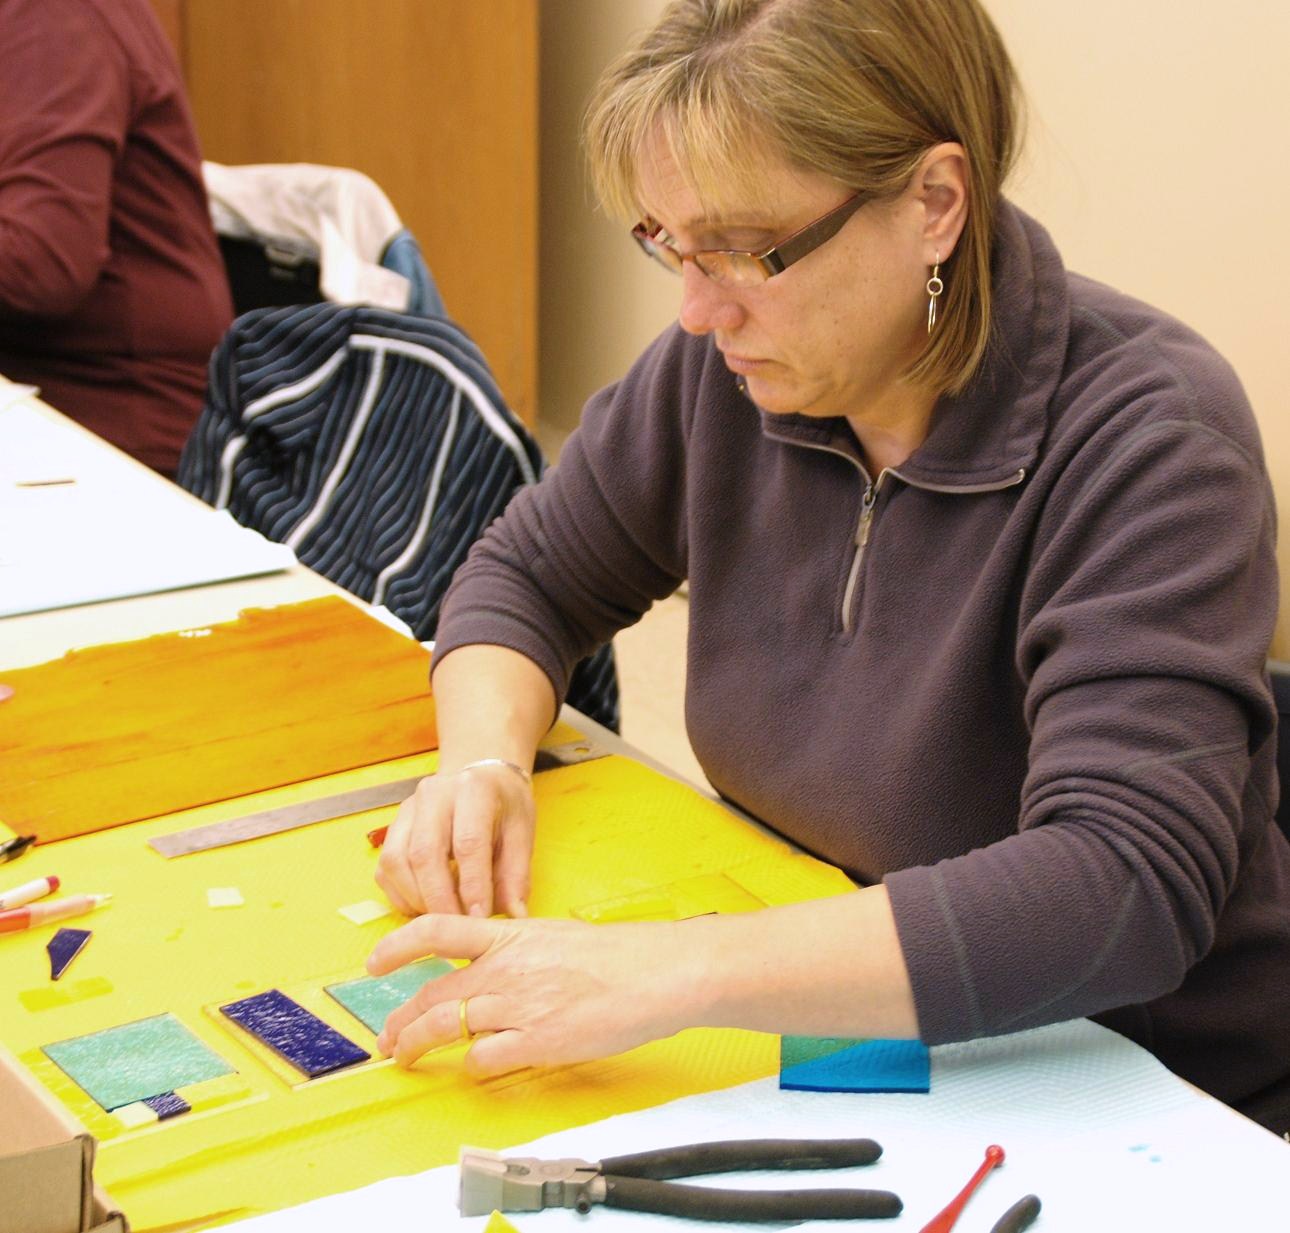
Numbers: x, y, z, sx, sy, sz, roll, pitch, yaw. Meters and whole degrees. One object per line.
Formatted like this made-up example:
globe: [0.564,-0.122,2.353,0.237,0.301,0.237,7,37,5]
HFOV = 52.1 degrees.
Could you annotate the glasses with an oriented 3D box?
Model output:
glasses: [0.055,-0.280,0.953,0.093,0.068,0.224,-10,25,-29]

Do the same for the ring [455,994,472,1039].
ring: [-0.111,0.242,0.792,0.013,0.006,0.017,1,60,-7]
